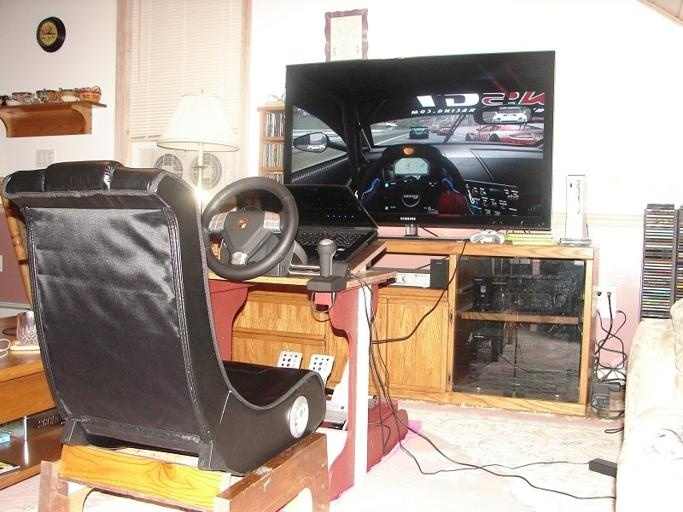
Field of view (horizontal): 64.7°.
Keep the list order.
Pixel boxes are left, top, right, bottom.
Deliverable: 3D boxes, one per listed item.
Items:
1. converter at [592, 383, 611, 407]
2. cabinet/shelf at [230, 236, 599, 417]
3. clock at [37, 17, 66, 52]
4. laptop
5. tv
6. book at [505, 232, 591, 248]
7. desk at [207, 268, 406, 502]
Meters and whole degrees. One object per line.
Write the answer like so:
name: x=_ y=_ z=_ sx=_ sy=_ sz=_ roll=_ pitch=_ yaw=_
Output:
converter: x=1.381 y=0.743 z=2.879 sx=0.091 sy=0.111 sz=0.087 roll=6 pitch=5 yaw=23
cabinet/shelf: x=0.294 y=0.324 z=3.039 sx=1.992 sy=0.826 sz=0.451 roll=1 pitch=6 yaw=6
clock: x=-2.410 y=-1.831 z=4.554 sx=0.292 sy=0.272 sz=0.068 roll=-3 pitch=1 yaw=23
laptop: x=-0.025 y=-0.139 z=2.137 sx=0.419 sy=0.255 sz=0.312 roll=14 pitch=48 yaw=24
tv: x=0.512 y=-0.650 z=3.173 sx=1.393 sy=0.787 sz=0.051 roll=2 pitch=5 yaw=18
book: x=1.171 y=-0.095 z=3.087 sx=0.443 sy=0.086 sz=0.508 roll=5 pitch=4 yaw=17
desk: x=-0.016 y=0.504 z=2.447 sx=0.826 sy=0.863 sz=0.986 roll=2 pitch=-6 yaw=26
